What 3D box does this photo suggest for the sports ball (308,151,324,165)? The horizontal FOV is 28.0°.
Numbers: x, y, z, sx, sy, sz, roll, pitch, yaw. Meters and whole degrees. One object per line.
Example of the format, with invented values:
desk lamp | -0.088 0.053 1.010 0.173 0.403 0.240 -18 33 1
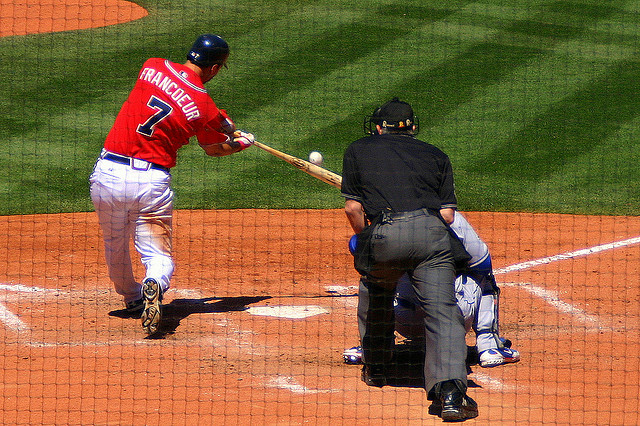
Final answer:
sports ball | -0.047 -0.700 16.170 0.215 0.114 0.168 -2 -2 -2
